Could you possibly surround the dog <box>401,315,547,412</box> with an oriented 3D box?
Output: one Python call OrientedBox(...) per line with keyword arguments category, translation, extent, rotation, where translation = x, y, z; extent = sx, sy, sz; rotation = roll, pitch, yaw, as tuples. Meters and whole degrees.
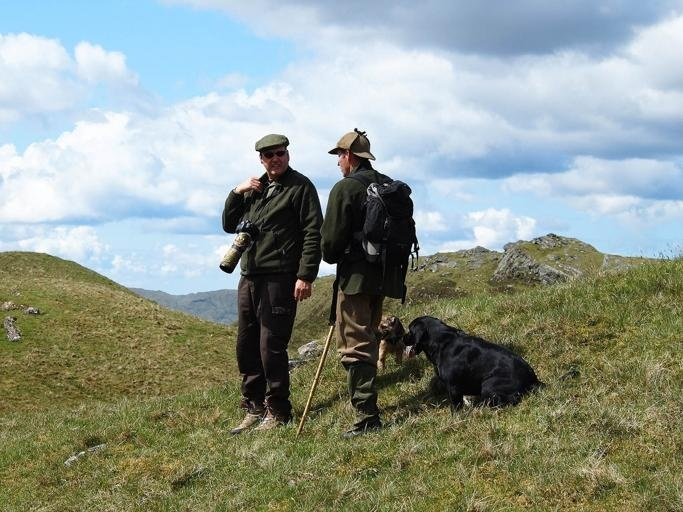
OrientedBox(category="dog", translation=(2.391, 1.860, 13.424), extent=(2.666, 1.544, 1.050), rotation=(9, 15, 36))
